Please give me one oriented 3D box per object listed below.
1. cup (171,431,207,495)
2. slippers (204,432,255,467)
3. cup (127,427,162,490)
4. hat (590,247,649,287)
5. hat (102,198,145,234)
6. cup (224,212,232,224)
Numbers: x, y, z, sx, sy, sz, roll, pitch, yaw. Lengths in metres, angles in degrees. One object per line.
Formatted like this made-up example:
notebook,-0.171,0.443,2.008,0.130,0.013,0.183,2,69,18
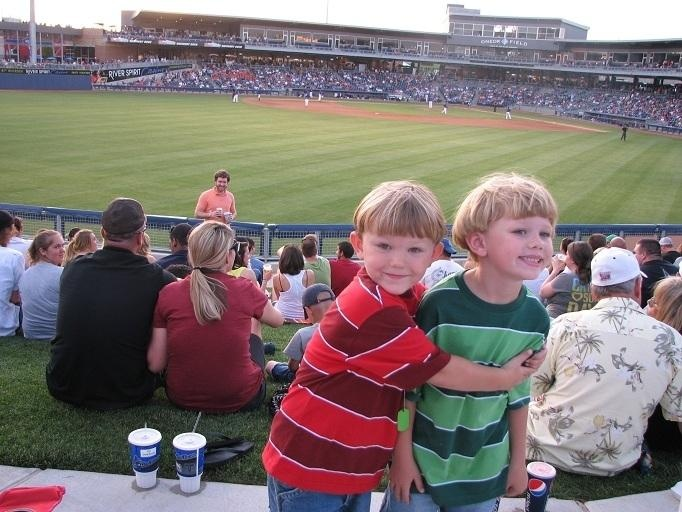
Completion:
cup,-0.977,1.330,3.941,0.183,0.339,0.167,3,14,-1
slippers,-0.769,1.346,4.246,0.349,0.081,0.217,-1,14,-16
cup,-1.269,1.300,3.974,0.186,0.338,0.217,-2,14,-20
hat,1.868,0.083,4.293,0.326,0.157,0.210,23,3,-22
hat,-1.685,-0.356,4.785,0.358,0.228,0.467,5,18,-9
cup,-2.127,-0.726,11.592,0.205,0.242,0.260,0,-8,-4
